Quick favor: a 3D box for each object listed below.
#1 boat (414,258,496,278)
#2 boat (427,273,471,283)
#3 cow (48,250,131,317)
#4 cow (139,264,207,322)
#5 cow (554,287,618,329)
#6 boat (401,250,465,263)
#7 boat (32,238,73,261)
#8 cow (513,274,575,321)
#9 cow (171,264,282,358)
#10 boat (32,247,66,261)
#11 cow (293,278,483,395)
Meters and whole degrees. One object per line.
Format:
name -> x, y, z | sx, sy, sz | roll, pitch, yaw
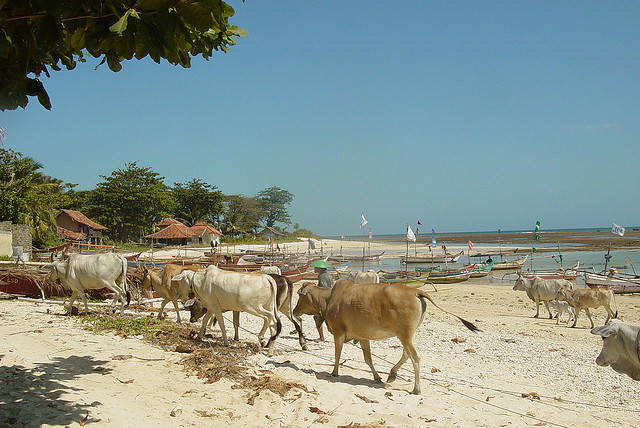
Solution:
boat -> 11.054, 4.453, 41.043 | 5.167, 1.355, 1.393 | 0, -4, 1
boat -> 8.912, 4.460, 34.772 | 3.878, 0.752, 0.815 | 1, -3, -15
cow -> -7.024, 2.118, 14.970 | 2.765, 2.122, 0.809 | -3, -4, 13
cow -> -4.407, 2.384, 15.175 | 2.645, 1.561, 0.691 | 0, -4, 12
cow -> 10.209, 3.509, 18.899 | 1.757, 1.455, 2.008 | -4, -6, 35
boat -> 12.739, 4.756, 55.450 | 8.519, 1.604, 1.672 | -1, -4, -10
boat -> -16.724, 2.164, 30.560 | 4.526, 1.583, 1.099 | -3, -7, 29
cow -> 9.122, 3.375, 20.206 | 0.747, 1.766, 2.782 | 11, -11, -33
cow -> -2.346, 2.491, 12.977 | 2.730, 2.300, 0.793 | -3, -5, 25
boat -> -15.394, 2.250, 28.068 | 4.033, 0.777, 0.860 | -7, -9, 42
cow -> 1.235, 2.804, 11.590 | 4.905, 2.428, 1.126 | -3, -9, 40
